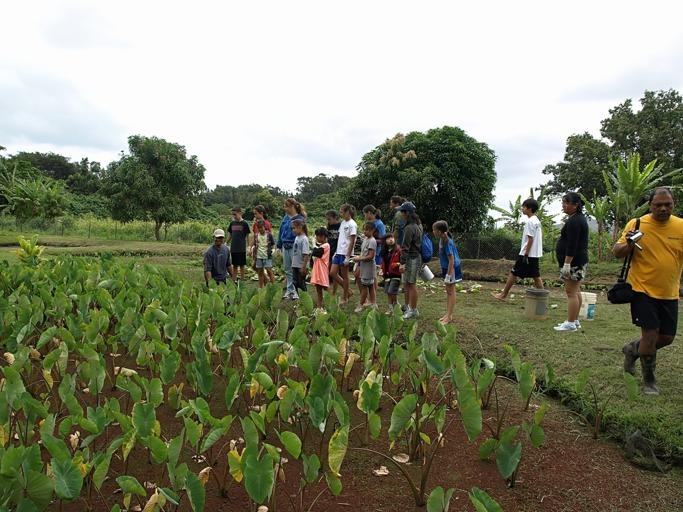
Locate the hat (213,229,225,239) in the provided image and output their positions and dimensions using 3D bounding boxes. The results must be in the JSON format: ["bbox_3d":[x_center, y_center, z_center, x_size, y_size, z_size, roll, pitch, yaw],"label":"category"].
[{"bbox_3d":[-1.767,-0.317,6.808,0.158,0.119,0.218,1,0,-30],"label":"hat"}]

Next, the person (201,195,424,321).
[{"bbox_3d":[0.211,-0.065,7.114,2.422,1.555,1.119,6,4,25],"label":"person"}]

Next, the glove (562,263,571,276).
[{"bbox_3d":[2.697,0.163,5.707,0.090,0.144,0.138,1,31,16],"label":"glove"}]

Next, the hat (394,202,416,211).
[{"bbox_3d":[0.915,-0.693,6.653,0.153,0.121,0.236,-9,14,-35],"label":"hat"}]

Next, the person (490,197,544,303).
[{"bbox_3d":[2.707,-0.072,7.097,0.620,1.113,1.128,5,3,23],"label":"person"}]

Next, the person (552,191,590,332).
[{"bbox_3d":[2.857,0.074,5.910,0.372,1.359,0.737,5,3,26],"label":"person"}]

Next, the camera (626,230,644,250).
[{"bbox_3d":[2.624,-0.131,4.201,0.112,0.163,0.066,-38,7,-16],"label":"camera"}]

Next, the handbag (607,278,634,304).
[{"bbox_3d":[2.555,0.338,4.328,0.157,0.250,0.238,1,-3,7],"label":"handbag"}]

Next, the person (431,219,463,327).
[{"bbox_3d":[1.419,0.179,6.462,0.390,1.301,1.672,4,3,13],"label":"person"}]

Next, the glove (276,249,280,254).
[{"bbox_3d":[-1.623,-0.110,12.104,0.062,0.115,0.107,2,8,-2],"label":"glove"}]

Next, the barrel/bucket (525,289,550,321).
[{"bbox_3d":[2.710,0.659,6.595,0.348,0.424,0.371,1,3,0],"label":"barrel/bucket"}]

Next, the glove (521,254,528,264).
[{"bbox_3d":[2.686,0.052,6.938,0.095,0.159,0.100,4,-1,39],"label":"glove"}]

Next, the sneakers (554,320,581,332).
[{"bbox_3d":[2.833,0.882,5.922,0.262,0.119,0.164,0,-2,17],"label":"sneakers"}]
